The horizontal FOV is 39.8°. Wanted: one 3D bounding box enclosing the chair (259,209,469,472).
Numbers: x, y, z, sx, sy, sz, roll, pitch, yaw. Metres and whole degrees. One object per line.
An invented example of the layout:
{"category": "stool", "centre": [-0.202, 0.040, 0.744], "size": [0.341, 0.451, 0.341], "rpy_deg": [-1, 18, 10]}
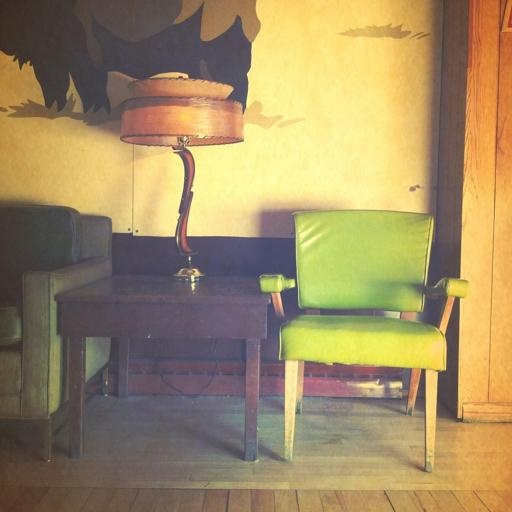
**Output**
{"category": "chair", "centre": [0.482, 0.321, 3.240], "size": [1.034, 1.548, 0.906], "rpy_deg": [1, -2, 6]}

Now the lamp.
{"category": "lamp", "centre": [-0.344, -0.350, 3.222], "size": [0.559, 0.920, 0.413], "rpy_deg": [2, 9, 7]}
